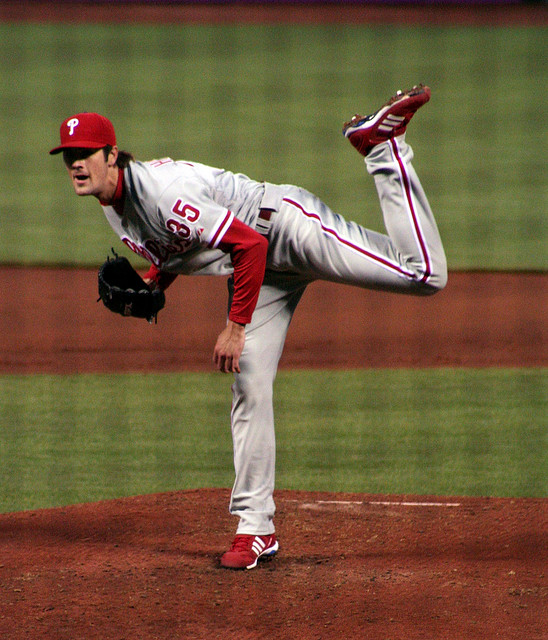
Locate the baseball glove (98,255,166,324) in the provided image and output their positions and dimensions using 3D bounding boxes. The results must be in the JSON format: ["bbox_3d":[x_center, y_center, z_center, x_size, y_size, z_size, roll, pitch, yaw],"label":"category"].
[{"bbox_3d":[-0.832,-0.172,7.422,0.231,0.147,0.287,-13,42,-23],"label":"baseball glove"}]

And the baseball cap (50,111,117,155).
[{"bbox_3d":[-0.946,-0.937,6.977,0.276,0.241,0.397,-4,3,20],"label":"baseball cap"}]

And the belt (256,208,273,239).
[{"bbox_3d":[-0.045,-0.527,7.094,0.028,0.128,0.113,8,2,-28],"label":"belt"}]
